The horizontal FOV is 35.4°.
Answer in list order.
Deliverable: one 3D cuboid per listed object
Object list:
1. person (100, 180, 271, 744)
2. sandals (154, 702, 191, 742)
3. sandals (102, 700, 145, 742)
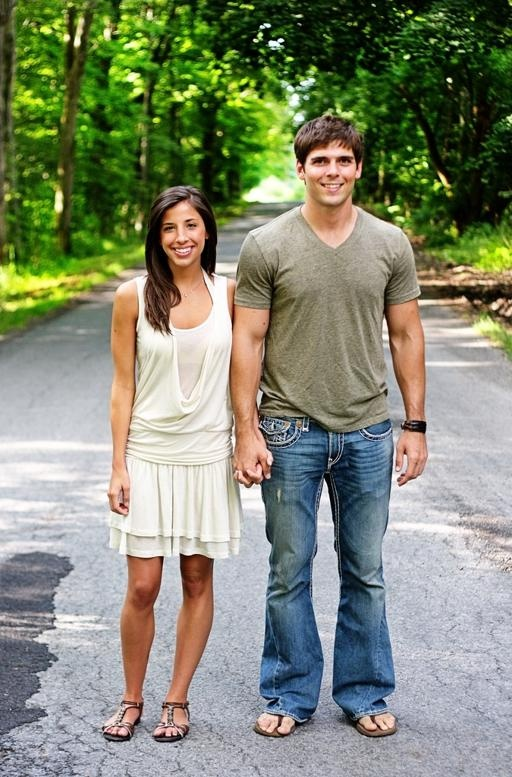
[{"bbox_3d":[-0.289,0.217,2.574,0.488,1.732,0.387,-3,8,-23],"label":"person"},{"bbox_3d":[-0.269,1.048,2.498,0.059,0.052,0.153,-2,-9,0],"label":"sandals"},{"bbox_3d":[-0.430,1.046,2.570,0.118,0.084,0.209,0,6,-5],"label":"sandals"}]
